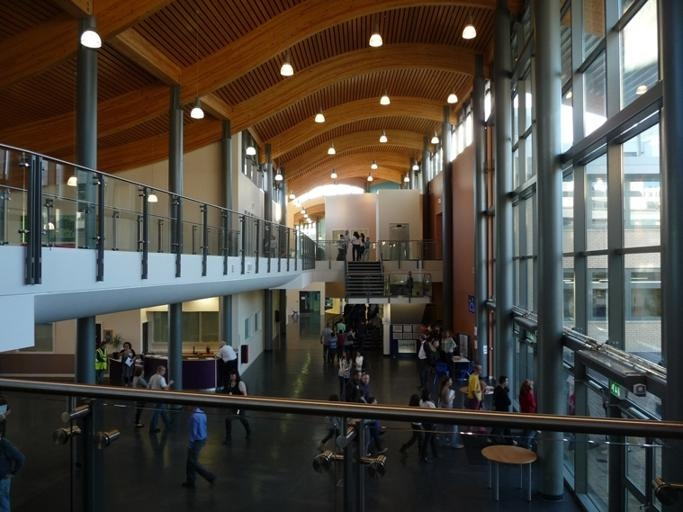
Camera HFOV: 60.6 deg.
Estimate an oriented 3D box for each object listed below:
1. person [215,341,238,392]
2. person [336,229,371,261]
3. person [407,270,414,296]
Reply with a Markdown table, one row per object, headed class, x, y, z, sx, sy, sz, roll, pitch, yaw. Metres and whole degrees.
| class | x | y | z | sx | sy | sz | roll | pitch | yaw |
| --- | --- | --- | --- | --- | --- | --- | --- | --- | --- |
| person | -2.809 | 2.709 | 14.215 | 0.619 | 1.212 | 1.878 | 0 | -28 | -12 |
| person | 0.486 | -0.400 | 24.154 | 1.332 | 1.359 | 0.911 | 9 | -12 | -39 |
| person | 2.521 | 1.035 | 21.361 | 0.219 | 0.889 | 0.269 | -7 | -12 | 40 |
